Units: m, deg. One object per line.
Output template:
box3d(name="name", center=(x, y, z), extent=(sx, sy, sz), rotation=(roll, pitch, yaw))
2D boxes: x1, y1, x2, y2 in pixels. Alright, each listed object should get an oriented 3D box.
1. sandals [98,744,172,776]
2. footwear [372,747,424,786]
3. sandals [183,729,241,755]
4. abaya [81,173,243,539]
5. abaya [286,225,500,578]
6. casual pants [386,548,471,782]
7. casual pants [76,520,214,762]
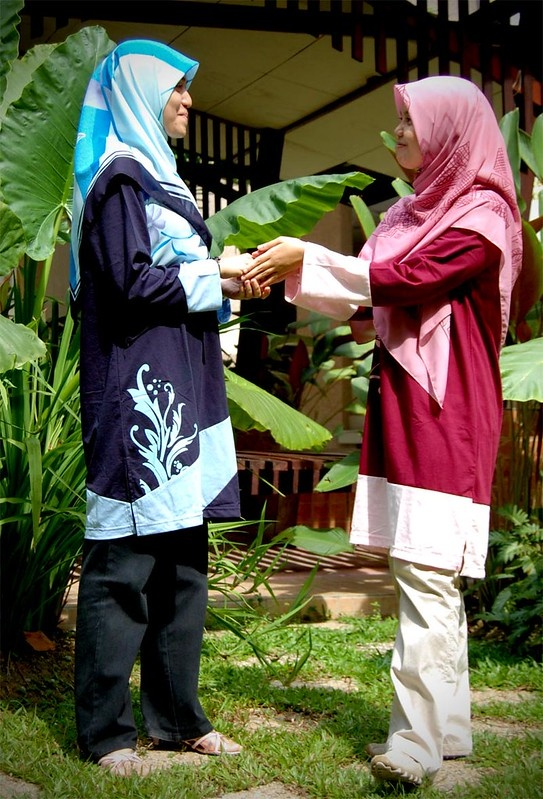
box3d(name="sandals", center=(-0.281, 0.736, 1.486), extent=(0.125, 0.045, 0.068), rotation=(-10, -7, 28))
box3d(name="footwear", center=(0.234, 0.699, 1.398), extent=(0.055, 0.045, 0.097), rotation=(-3, -38, 28))
box3d(name="sandals", center=(-0.126, 0.753, 1.638), extent=(0.102, 0.036, 0.051), rotation=(-1, 1, 10))
box3d(name="abaya", center=(-0.234, -0.093, 1.592), extent=(0.376, 0.789, 0.277), rotation=(4, 2, -23))
box3d(name="abaya", center=(0.271, -0.006, 1.663), extent=(0.468, 0.626, 0.322), rotation=(5, 2, 16))
box3d(name="casual pants", center=(0.331, 0.573, 1.569), extent=(0.197, 0.382, 0.356), rotation=(6, 2, 19))
box3d(name="casual pants", center=(-0.278, 0.527, 1.601), extent=(0.311, 0.327, 0.161), rotation=(3, 3, -41))
